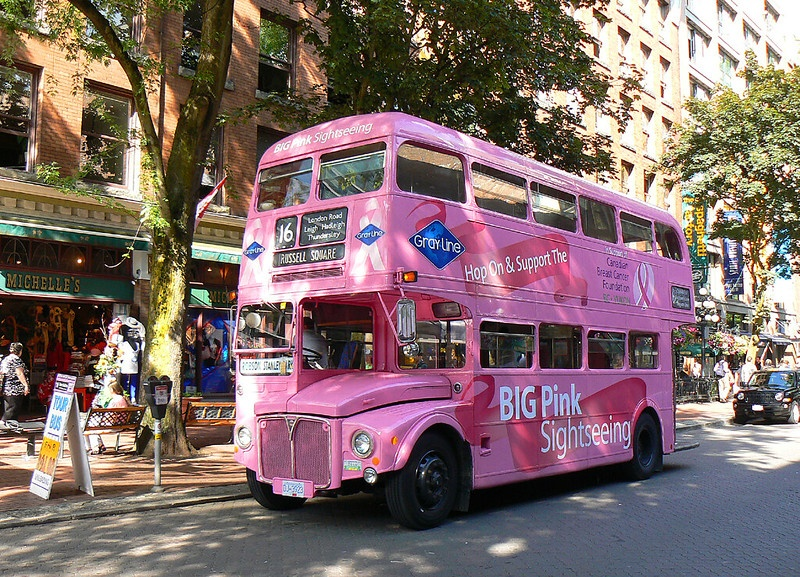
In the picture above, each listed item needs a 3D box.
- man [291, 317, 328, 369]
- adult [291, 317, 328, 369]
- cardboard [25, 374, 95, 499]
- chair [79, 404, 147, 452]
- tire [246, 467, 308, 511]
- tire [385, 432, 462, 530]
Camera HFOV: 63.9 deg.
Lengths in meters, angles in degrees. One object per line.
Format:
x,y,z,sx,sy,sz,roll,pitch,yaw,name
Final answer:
-1.259,0.856,9.501,0.412,0.700,0.662,-1,3,-7,man
-1.262,0.841,9.497,0.412,0.700,0.662,-1,3,-7,adult
-5.418,2.350,10.450,1.087,1.965,0.673,-7,-11,35,cardboard
-5.992,2.912,13.524,0.543,1.015,1.453,1,-6,28,chair
-1.751,2.877,9.292,0.315,0.880,0.835,-5,3,33,tire
0.293,2.619,8.767,0.499,1.473,1.309,-4,-6,39,tire
